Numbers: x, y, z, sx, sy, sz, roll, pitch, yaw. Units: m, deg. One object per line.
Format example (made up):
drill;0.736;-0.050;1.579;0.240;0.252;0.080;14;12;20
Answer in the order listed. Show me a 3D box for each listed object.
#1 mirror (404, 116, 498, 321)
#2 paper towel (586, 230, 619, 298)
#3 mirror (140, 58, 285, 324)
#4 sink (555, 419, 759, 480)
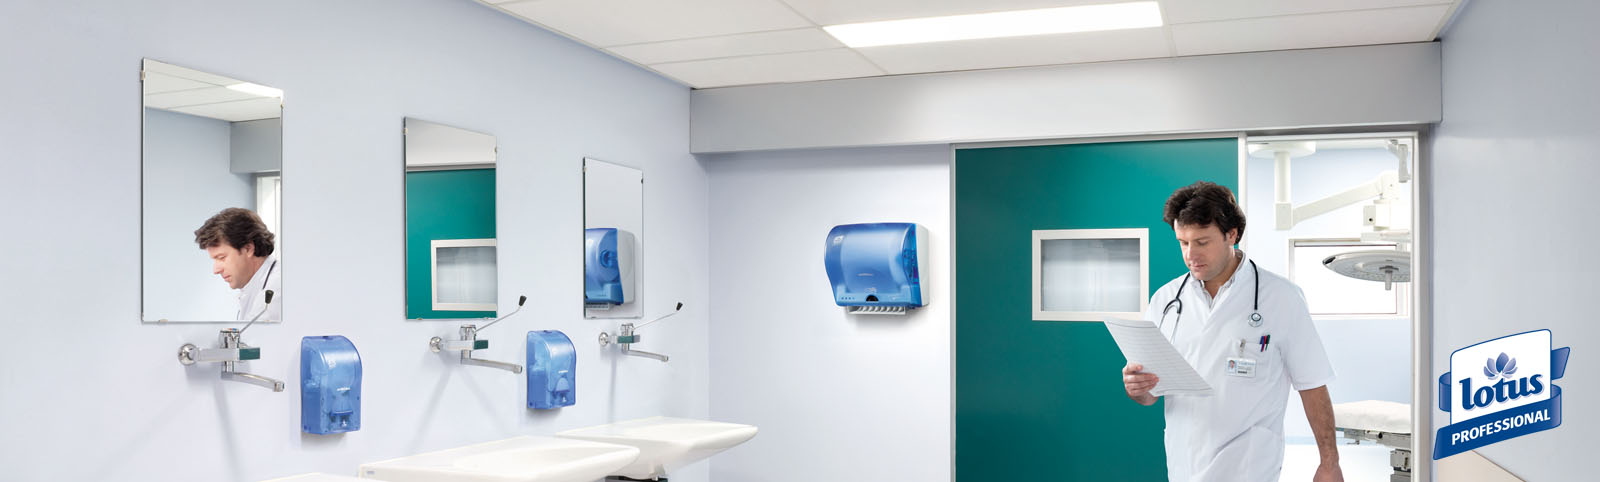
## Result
mirror;-3.771;-0.233;10.081;1.025;2.163;0.777;-2;17;-19
paper towel;-2.330;0.284;10.945;0.433;0.897;0.306;-2;17;-19
mirror;-5.842;-0.364;9.303;2.665;3.024;0.258;13;14;30
sink;-1.548;2.250;10.529;1.399;0.237;1.210;0;-1;21
